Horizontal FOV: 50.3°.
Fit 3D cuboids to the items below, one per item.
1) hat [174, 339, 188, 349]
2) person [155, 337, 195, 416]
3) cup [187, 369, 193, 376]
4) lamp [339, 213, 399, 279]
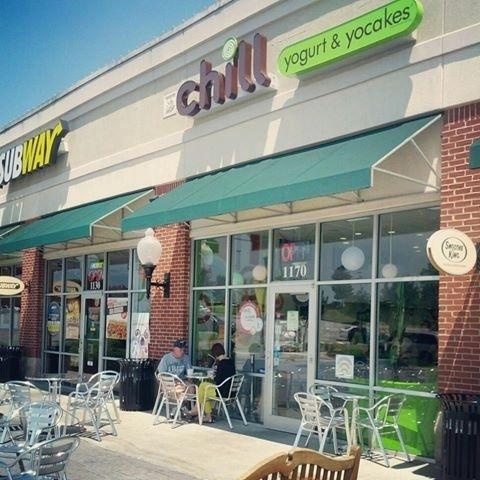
[{"bbox_3d":[-1.242,2.200,10.795,0.198,0.259,0.269,9,-32,-34],"label":"hat"},{"bbox_3d":[-1.289,2.470,10.595,0.687,0.925,0.423,4,10,-11],"label":"person"},{"bbox_3d":[-0.977,2.619,10.082,0.073,0.117,0.121,-2,-12,9],"label":"cup"},{"bbox_3d":[2.108,0.105,8.417,0.826,0.957,0.825,-1,-6,19],"label":"lamp"}]
